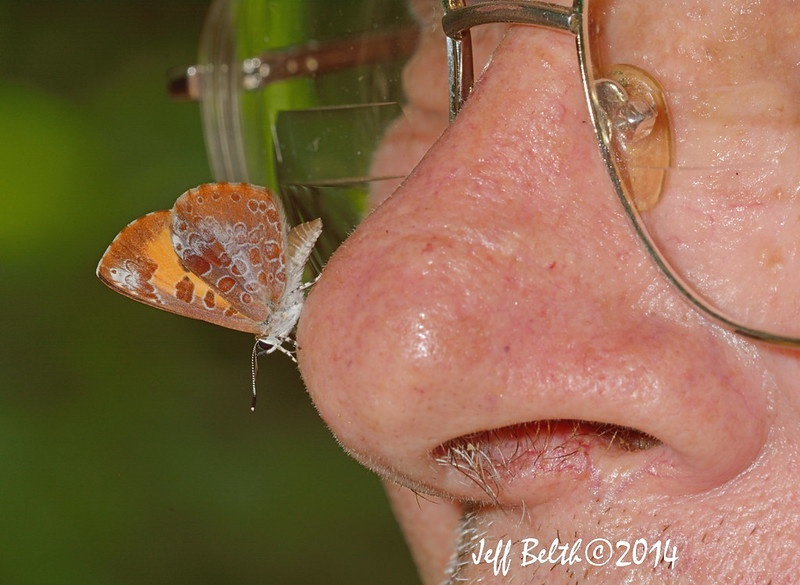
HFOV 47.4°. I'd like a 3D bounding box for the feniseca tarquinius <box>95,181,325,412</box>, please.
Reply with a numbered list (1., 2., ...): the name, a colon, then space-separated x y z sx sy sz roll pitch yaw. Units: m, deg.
1. feniseca tarquinius: -0.133 -0.013 0.832 0.155 0.145 0.222 -57 10 -6
